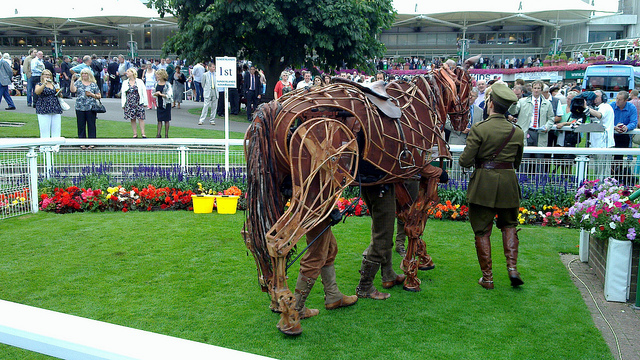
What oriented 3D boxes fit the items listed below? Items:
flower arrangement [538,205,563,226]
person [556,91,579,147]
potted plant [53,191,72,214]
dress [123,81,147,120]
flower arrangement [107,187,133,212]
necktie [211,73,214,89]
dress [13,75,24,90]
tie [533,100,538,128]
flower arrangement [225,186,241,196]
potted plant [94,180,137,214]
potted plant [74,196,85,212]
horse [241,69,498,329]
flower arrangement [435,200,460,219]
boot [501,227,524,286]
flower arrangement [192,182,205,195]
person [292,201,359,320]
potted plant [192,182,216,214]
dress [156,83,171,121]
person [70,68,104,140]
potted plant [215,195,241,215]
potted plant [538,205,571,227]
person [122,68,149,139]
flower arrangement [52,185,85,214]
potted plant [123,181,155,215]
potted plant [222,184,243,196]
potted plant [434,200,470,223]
[{"bbox_3d":[5.052,0.781,12.378,0.482,0.422,0.452,-3,10,-17],"label":"flower arrangement"},{"bbox_3d":[6.543,-1.691,15.084,0.473,1.433,1.630,3,10,24],"label":"person"},{"bbox_3d":[-5.669,0.480,12.440,0.441,0.480,0.458,1,-7,10],"label":"potted plant"},{"bbox_3d":[-5.541,-2.420,16.832,0.555,1.143,0.440,-3,9,-16],"label":"dress"},{"bbox_3d":[-4.509,0.403,12.909,0.558,0.444,0.551,6,3,-3],"label":"flower arrangement"},{"bbox_3d":[-3.938,-3.717,20.650,0.086,0.523,0.244,-2,9,-10],"label":"necktie"},{"bbox_3d":[-15.074,-4.966,28.300,0.673,0.612,0.197,1,13,-12],"label":"dress"},{"bbox_3d":[5.351,-1.702,14.154,0.109,0.688,0.084,0,9,3],"label":"tie"},{"bbox_3d":[-1.996,0.230,12.912,0.234,0.131,0.222,0,3,-23],"label":"flower arrangement"},{"bbox_3d":[-4.635,0.414,12.726,0.755,0.390,0.678,-3,-18,-11],"label":"potted plant"},{"bbox_3d":[-5.331,0.520,12.597,0.301,0.254,0.199,-6,44,-23],"label":"potted plant"},{"bbox_3d":[0.888,0.474,9.628,4.669,3.473,1.431,-8,11,-28],"label":"horse"},{"bbox_3d":[2.778,0.628,12.707,0.547,0.517,0.253,-1,-24,0],"label":"flower arrangement"},{"bbox_3d":[3.427,1.362,10.108,0.399,0.995,0.531,1,9,10],"label":"boot"},{"bbox_3d":[-2.822,0.164,13.110,0.225,0.234,0.215,8,13,43],"label":"flower arrangement"},{"bbox_3d":[0.048,1.415,9.457,1.092,2.399,0.693,-1,39,6],"label":"person"},{"bbox_3d":[-2.565,0.432,12.916,0.491,0.634,0.658,0,0,6],"label":"potted plant"},{"bbox_3d":[-4.832,-2.438,17.401,0.360,1.124,0.388,-4,9,-18],"label":"dress"},{"bbox_3d":[-6.572,-2.239,16.085,0.864,1.980,0.568,5,10,30],"label":"person"},{"bbox_3d":[-2.091,0.523,12.595,0.534,0.337,0.414,0,-8,-4],"label":"potted plant"},{"bbox_3d":[5.093,0.768,12.325,0.624,0.371,0.578,-7,11,-38],"label":"potted plant"},{"bbox_3d":[-5.576,-2.376,17.062,0.723,2.120,1.378,-4,10,-19],"label":"person"},{"bbox_3d":[-5.649,0.491,12.711,0.675,0.597,0.471,0,-25,-23],"label":"flower arrangement"},{"bbox_3d":[-4.133,0.347,12.871,0.710,0.521,0.777,19,12,25],"label":"potted plant"},{"bbox_3d":[-2.004,0.205,12.957,0.308,0.194,0.292,1,1,-38],"label":"potted plant"},{"bbox_3d":[2.948,0.689,12.614,0.650,0.398,0.637,-4,9,-44],"label":"potted plant"}]
